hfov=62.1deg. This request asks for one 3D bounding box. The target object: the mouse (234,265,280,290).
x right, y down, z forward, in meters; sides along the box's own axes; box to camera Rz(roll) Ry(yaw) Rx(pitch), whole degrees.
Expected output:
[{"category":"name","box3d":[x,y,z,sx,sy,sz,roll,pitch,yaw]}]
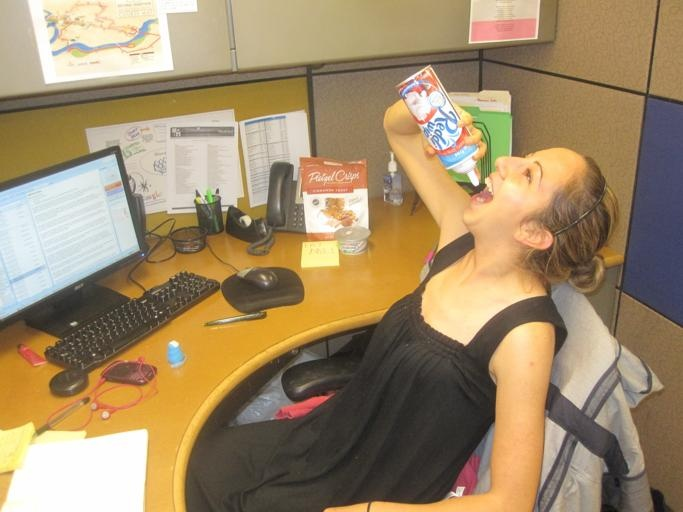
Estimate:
[{"category":"mouse","box3d":[-0.259,0.058,1.795,0.111,0.035,0.058,18,34,30]}]

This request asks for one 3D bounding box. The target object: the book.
[{"category":"book","box3d":[-0.027,-0.199,2.025,0.272,0.355,0.046,-3,3,-3]}]

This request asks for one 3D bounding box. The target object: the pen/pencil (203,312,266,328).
[{"category":"pen/pencil","box3d":[-0.312,0.189,1.676,0.126,0.016,0.018,-8,27,-9]}]

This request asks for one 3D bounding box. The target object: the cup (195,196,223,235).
[{"category":"cup","box3d":[-0.484,-0.149,2.075,0.102,0.149,0.091,0,33,1]}]

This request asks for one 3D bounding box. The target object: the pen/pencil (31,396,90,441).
[{"category":"pen/pencil","box3d":[-0.696,0.407,1.411,0.129,0.015,0.015,-35,0,-30]}]

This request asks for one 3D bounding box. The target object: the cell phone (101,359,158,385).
[{"category":"cell phone","box3d":[-0.568,0.314,1.517,0.106,0.024,0.068,4,25,-2]}]

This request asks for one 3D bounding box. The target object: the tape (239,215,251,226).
[{"category":"tape","box3d":[-0.341,-0.120,2.023,0.038,0.034,0.042,-1,43,-34]}]

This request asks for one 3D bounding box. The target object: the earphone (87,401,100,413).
[{"category":"earphone","box3d":[-0.628,0.382,1.439,0.022,0.008,0.031,2,1,-7]}]

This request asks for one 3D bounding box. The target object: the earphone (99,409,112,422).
[{"category":"earphone","box3d":[-0.587,0.395,1.415,0.021,0.005,0.022,0,70,-1]}]
